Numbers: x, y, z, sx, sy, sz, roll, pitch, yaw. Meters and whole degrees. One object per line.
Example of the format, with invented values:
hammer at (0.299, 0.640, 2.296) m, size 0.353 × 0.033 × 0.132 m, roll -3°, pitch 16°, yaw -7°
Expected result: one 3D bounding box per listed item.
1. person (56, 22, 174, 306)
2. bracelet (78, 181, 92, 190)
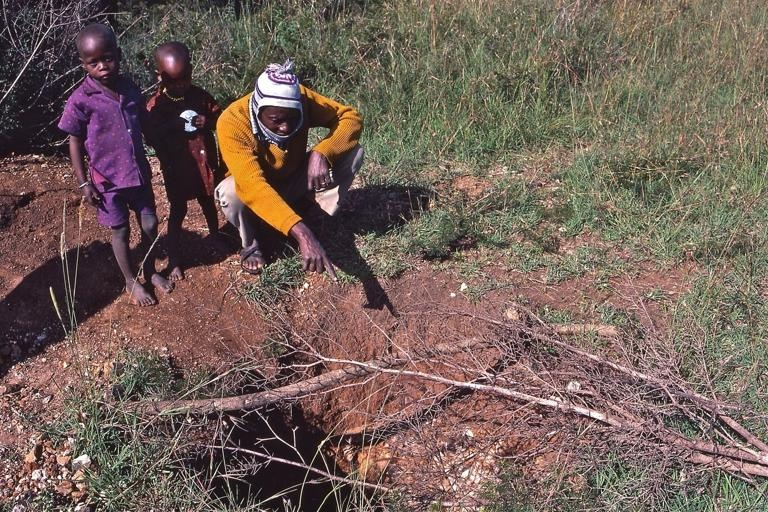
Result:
person at (-2.346, -0.714, 6.348) m, size 0.700 × 2.380 × 0.409 m, roll -6°, pitch 22°, yaw -23°
bracelet at (-2.529, -0.605, 6.246) m, size 0.119 × 0.071 × 0.075 m, roll 8°, pitch 22°, yaw 11°
